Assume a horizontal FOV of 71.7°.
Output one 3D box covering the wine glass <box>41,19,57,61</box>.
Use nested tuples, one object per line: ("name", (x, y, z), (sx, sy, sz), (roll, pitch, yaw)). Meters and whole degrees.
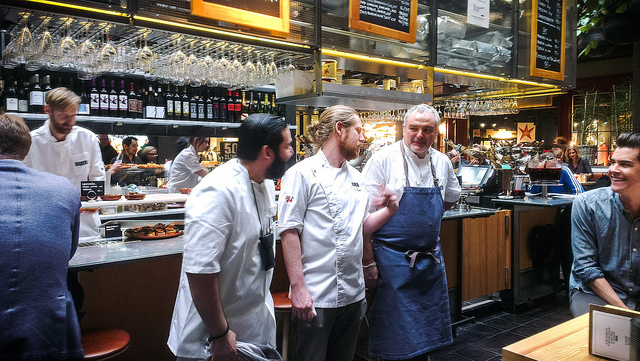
("wine glass", (-2.580, -1.326, 4.176), (0.135, 0.327, 0.460), (-4, 5, -31))

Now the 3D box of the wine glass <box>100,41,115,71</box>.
("wine glass", (-2.130, -1.236, 4.401), (0.132, 0.223, 0.342), (-3, 5, -24))

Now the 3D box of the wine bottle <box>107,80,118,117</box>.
("wine bottle", (-3.012, -1.105, 6.392), (0.147, 0.381, 0.144), (-1, 5, 0))

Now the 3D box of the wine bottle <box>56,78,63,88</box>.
("wine bottle", (-3.852, -1.450, 6.517), (0.065, 0.171, 0.376), (-4, 5, -29))

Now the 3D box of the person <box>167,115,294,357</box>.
("person", (-0.582, 0.360, 2.962), (0.850, 1.600, 0.334), (-3, 5, -23))

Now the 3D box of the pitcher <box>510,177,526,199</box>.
("pitcher", (2.694, 0.092, 5.985), (0.197, 0.272, 0.432), (1, 5, 24))
